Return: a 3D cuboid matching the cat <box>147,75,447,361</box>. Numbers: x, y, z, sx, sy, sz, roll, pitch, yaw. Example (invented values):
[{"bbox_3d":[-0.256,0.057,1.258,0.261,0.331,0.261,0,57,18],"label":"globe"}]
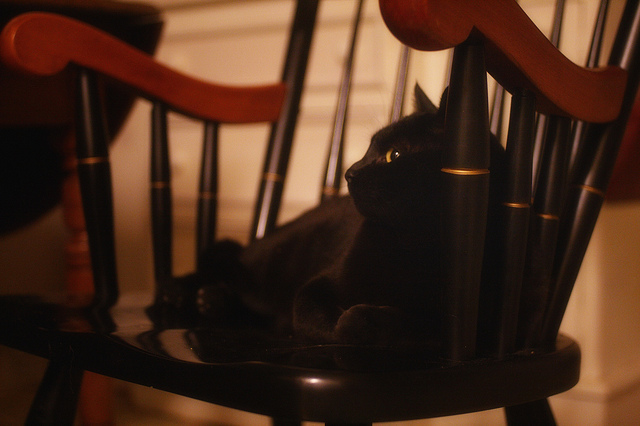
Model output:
[{"bbox_3d":[0.007,0.075,0.988,0.377,0.491,0.343,14,-8,-37],"label":"cat"}]
